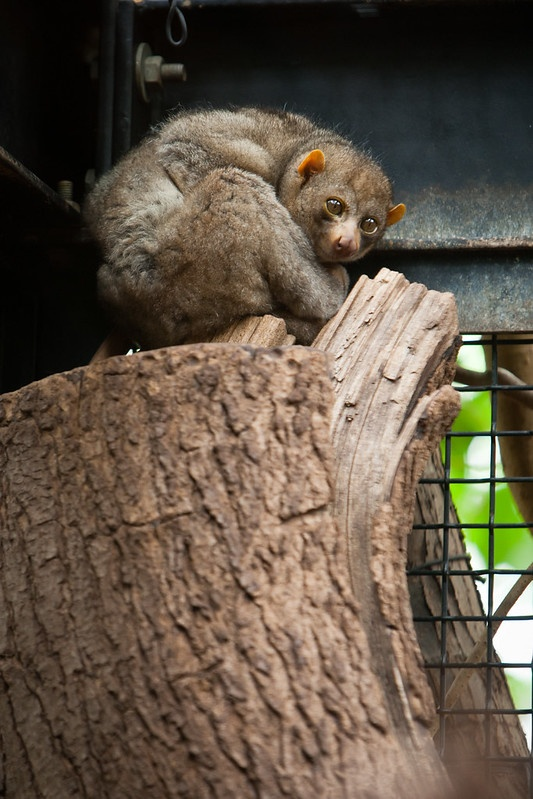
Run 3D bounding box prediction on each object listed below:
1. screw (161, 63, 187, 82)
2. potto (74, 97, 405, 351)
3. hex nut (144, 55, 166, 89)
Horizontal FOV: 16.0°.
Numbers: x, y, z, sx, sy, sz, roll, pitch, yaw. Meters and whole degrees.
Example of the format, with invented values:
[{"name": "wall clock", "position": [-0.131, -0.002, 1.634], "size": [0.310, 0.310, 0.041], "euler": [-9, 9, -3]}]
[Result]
[{"name": "screw", "position": [-0.364, -1.227, 7.188], "size": [0.086, 0.082, 0.064], "euler": [1, 38, 2]}, {"name": "potto", "position": [-0.112, -0.550, 7.224], "size": [1.138, 0.990, 0.899], "euler": [-14, -29, 13]}, {"name": "hex nut", "position": [-0.427, -1.229, 7.198], "size": [0.075, 0.171, 0.158], "euler": [1, 3, 5]}]
